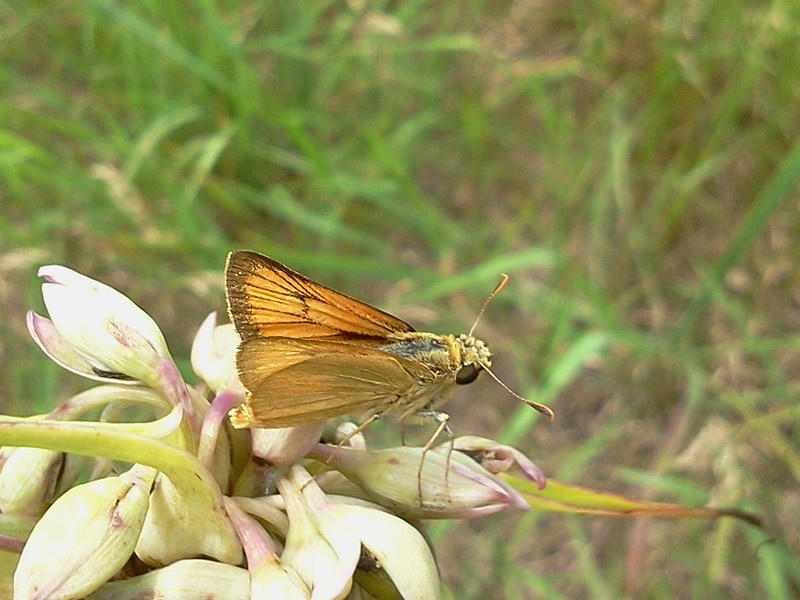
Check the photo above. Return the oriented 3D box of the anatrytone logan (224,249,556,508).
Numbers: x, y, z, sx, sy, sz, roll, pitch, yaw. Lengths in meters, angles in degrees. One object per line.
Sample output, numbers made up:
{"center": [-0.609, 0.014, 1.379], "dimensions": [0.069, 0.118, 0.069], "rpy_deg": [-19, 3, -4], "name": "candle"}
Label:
{"center": [-0.024, 0.105, 1.095], "dimensions": [0.408, 0.200, 0.243], "rpy_deg": [5, 80, -4], "name": "anatrytone logan"}
